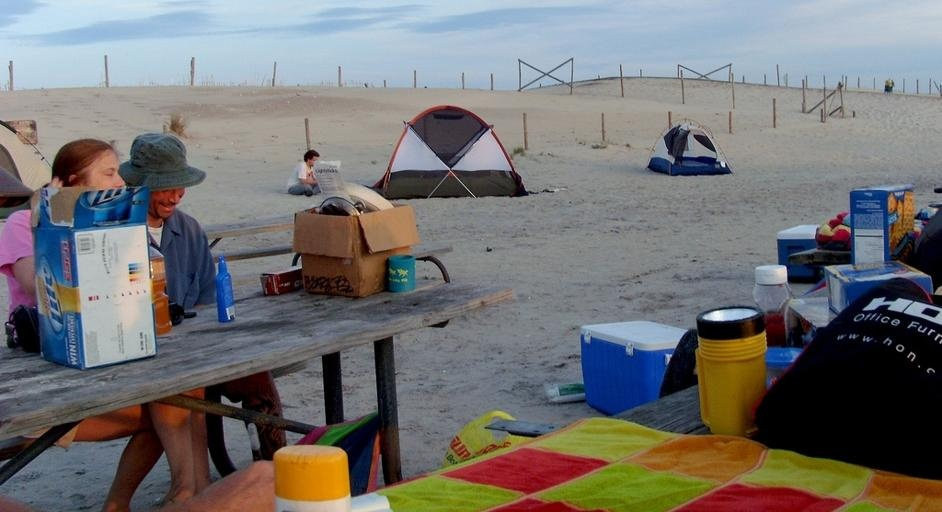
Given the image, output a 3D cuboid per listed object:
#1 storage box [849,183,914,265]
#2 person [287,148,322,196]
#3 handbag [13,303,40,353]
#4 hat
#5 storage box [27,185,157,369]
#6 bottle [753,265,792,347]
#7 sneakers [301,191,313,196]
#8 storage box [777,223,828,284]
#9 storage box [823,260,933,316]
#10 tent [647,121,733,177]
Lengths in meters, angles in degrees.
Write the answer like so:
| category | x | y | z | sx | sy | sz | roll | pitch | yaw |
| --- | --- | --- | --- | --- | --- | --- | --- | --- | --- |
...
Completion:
| category | x | y | z | sx | sy | sz | roll | pitch | yaw |
| --- | --- | --- | --- | --- | --- | --- | --- | --- | --- |
| storage box | 2.717 | -0.203 | 5.386 | 0.655 | 0.473 | 0.215 | -7 | 4 | -45 |
| person | -2.952 | -1.485 | 14.437 | 0.553 | 0.778 | 0.591 | -5 | 12 | -21 |
| handbag | -2.274 | 0.374 | 4.170 | 0.093 | 0.216 | 0.180 | -2 | -4 | -38 |
| hat | -1.817 | -0.539 | 4.780 | 0.492 | 0.193 | 0.427 | 7 | 16 | 9 |
| storage box | -1.869 | 0.092 | 4.026 | 0.564 | 0.859 | 0.361 | -4 | 12 | -14 |
| bottle | 1.639 | 0.266 | 4.432 | 0.254 | 0.446 | 0.162 | -2 | 12 | -8 |
| sneakers | -2.895 | -1.122 | 14.380 | 0.191 | 0.081 | 0.093 | 1 | 11 | 10 |
| storage box | 3.275 | -0.021 | 8.046 | 0.447 | 0.533 | 0.371 | 9 | 14 | 40 |
| storage box | 2.130 | 0.119 | 4.357 | 0.467 | 0.237 | 0.423 | 0 | 3 | 12 |
| tent | 4.885 | -2.432 | 18.395 | 1.453 | 0.932 | 1.631 | -3 | 9 | -13 |
